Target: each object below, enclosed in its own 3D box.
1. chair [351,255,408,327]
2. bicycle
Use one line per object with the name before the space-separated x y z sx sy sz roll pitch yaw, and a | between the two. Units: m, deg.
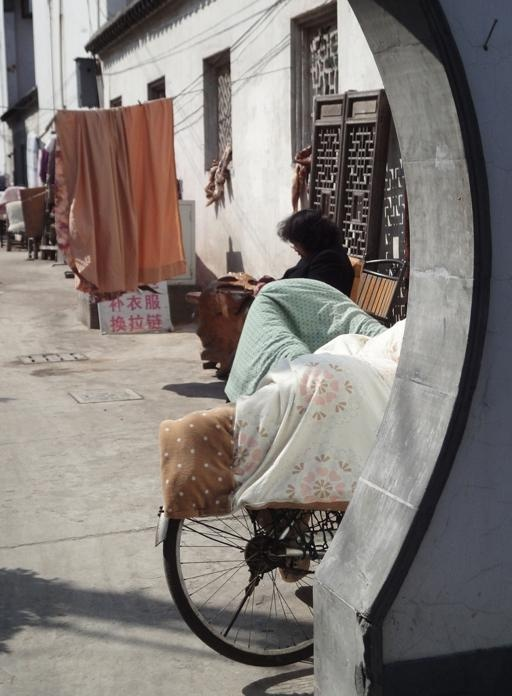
chair | 0.904 -0.432 5.538 0.294 0.466 0.806 -1 10 -2
bicycle | -0.030 0.686 2.710 0.571 0.580 0.921 -1 10 -3
